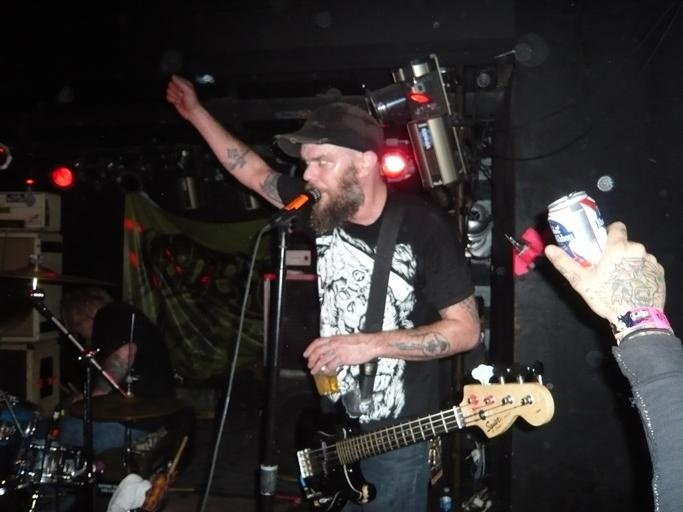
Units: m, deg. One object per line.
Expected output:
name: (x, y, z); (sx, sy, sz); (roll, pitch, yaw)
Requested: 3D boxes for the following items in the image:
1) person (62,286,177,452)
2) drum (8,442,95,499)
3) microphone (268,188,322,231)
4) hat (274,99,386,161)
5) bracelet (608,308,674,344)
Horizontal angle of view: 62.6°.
person: (-2.766, 1.151, 6.108); (0.991, 1.541, 1.159); (-13, 0, 25)
drum: (-2.458, 1.758, 4.752); (0.582, 0.431, 0.142); (-8, -6, 6)
microphone: (-0.267, -0.292, 3.333); (0.457, 0.118, 0.120); (-41, -21, -38)
hat: (-0.137, -0.883, 3.860); (0.643, 0.349, 0.498); (6, 19, 27)
bracelet: (1.448, 0.316, 2.727); (0.193, 0.209, 0.213); (-6, -28, 10)
